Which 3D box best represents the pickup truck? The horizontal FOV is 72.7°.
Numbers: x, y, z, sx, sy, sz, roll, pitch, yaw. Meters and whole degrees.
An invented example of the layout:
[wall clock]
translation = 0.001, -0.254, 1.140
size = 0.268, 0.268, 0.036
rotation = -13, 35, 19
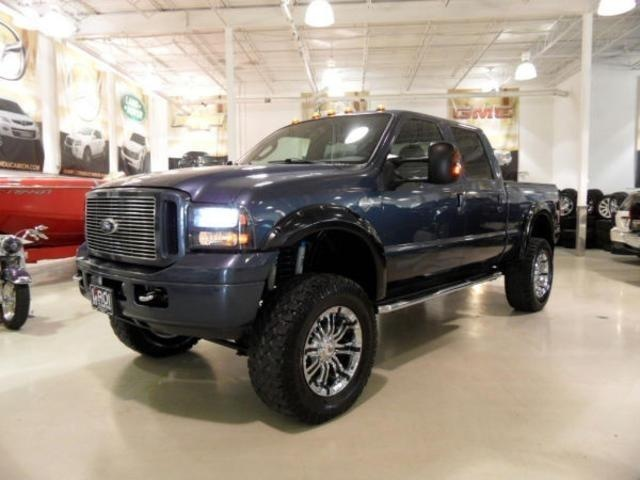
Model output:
[pickup truck]
translation = 0.197, 0.030, 3.802
size = 3.545, 1.561, 2.218
rotation = 0, -1, -43
